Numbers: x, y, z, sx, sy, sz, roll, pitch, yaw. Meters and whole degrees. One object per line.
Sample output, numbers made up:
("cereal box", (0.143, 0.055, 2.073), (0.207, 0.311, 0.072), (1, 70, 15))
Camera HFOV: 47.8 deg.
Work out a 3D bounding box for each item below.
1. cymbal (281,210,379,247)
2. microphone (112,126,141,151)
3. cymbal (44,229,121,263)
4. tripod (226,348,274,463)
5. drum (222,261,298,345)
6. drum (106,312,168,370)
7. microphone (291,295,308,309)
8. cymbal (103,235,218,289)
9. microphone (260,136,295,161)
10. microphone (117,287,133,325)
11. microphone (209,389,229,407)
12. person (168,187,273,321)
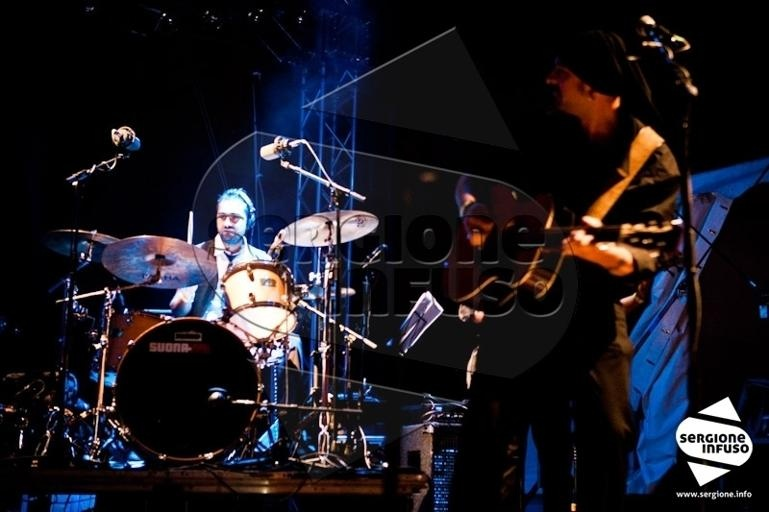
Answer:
("cymbal", (-0.541, -0.272, 8.447), (0.548, 0.128, 0.543), (-14, -28, 6))
("microphone", (-2.497, -1.170, 8.436), (0.239, 0.296, 0.327), (6, -15, -10))
("cymbal", (-3.045, -0.148, 8.633), (0.523, 0.129, 0.517), (-8, -42, 9))
("tripod", (-1.202, 1.328, 7.808), (0.204, 0.817, 0.836), (-2, -24, -42))
("drum", (-1.220, 0.577, 8.451), (0.849, 0.748, 0.816), (-4, -56, -7))
("drum", (-2.370, 0.796, 8.244), (0.589, 0.431, 0.590), (2, -18, 1))
("microphone", (-0.817, 0.441, 8.302), (0.066, 0.079, 0.271), (15, 4, 3))
("cymbal", (-2.123, -0.001, 8.257), (1.045, 0.239, 1.039), (-5, -27, 4))
("microphone", (-1.021, -0.973, 8.172), (0.327, 0.261, 0.185), (-13, -51, 10))
("microphone", (-2.574, 0.503, 8.590), (0.079, 0.317, 0.227), (8, -17, -13))
("microphone", (-1.414, 1.207, 7.365), (0.133, 0.127, 0.067), (1, -22, -19))
("person", (-1.746, 0.009, 8.990), (1.066, 1.545, 1.021), (2, -34, 0))
